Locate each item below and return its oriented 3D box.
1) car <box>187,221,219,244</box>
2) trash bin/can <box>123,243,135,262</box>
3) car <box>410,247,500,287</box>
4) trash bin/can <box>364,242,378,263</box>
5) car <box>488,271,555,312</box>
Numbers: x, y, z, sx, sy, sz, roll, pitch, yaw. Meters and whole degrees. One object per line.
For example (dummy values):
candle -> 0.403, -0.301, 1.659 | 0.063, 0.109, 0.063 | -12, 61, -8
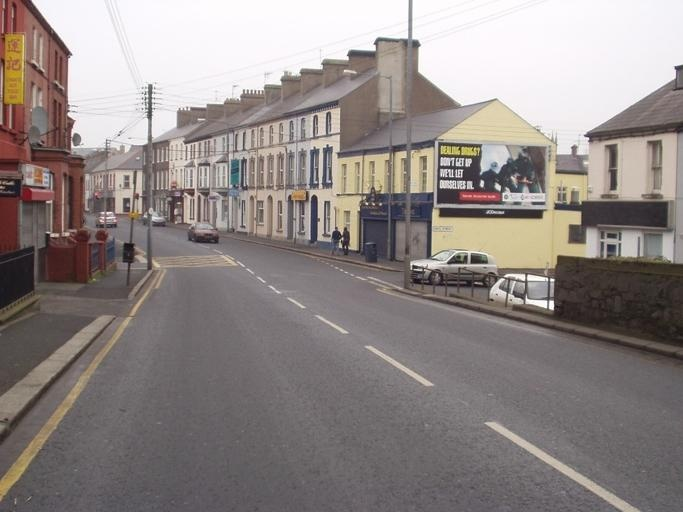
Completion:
car -> -11.495, -1.942, 58.340 | 1.874, 1.492, 2.983 | -1, 5, -34
trash bin/can -> -8.422, -0.156, 27.801 | 0.378, 0.749, 0.808 | 0, 4, -20
car -> 4.964, 0.604, 33.141 | 3.679, 1.677, 5.299 | 3, 5, 24
trash bin/can -> 1.732, -0.256, 43.799 | 0.691, 1.109, 1.287 | 2, 4, 6
car -> 5.775, 1.130, 22.722 | 0.990, 0.943, 1.880 | 0, -4, -15
